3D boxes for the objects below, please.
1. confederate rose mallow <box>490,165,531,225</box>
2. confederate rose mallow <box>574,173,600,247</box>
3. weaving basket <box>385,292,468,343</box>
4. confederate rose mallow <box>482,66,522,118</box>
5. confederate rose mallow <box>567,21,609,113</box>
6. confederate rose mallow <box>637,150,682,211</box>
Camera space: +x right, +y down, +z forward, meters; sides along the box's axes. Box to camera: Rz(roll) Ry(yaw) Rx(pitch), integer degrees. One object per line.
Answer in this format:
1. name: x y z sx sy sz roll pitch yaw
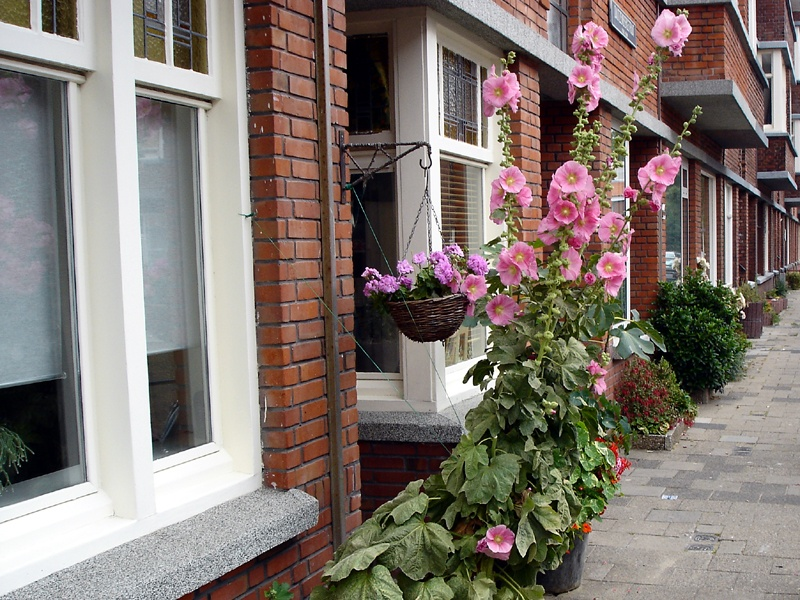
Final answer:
1. confederate rose mallow: 0.530 -0.523 3.260 0.240 0.263 0.125 11 10 31
2. confederate rose mallow: 0.855 -0.416 3.122 0.119 0.301 0.134 -2 -13 -6
3. weaving basket: 0.165 0.110 3.822 0.434 0.304 0.456 -8 0 13
4. confederate rose mallow: 0.492 -1.036 3.447 0.214 0.267 0.247 -1 3 -2
5. confederate rose mallow: 0.924 -1.188 3.410 0.155 0.498 0.203 8 13 32
6. confederate rose mallow: 1.237 -0.568 3.212 0.181 0.263 0.229 -1 3 23
